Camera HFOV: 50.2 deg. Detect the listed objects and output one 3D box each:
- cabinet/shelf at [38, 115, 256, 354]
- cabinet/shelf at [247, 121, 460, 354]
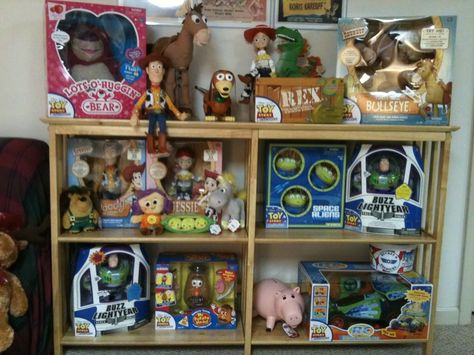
[{"bbox_3d":[-0.441,0.272,2.323,1.043,1.235,0.377,0,1,-6],"label":"cabinet/shelf"},{"bbox_3d":[0.536,0.270,2.382,1.040,1.244,0.401,0,2,-2],"label":"cabinet/shelf"}]
